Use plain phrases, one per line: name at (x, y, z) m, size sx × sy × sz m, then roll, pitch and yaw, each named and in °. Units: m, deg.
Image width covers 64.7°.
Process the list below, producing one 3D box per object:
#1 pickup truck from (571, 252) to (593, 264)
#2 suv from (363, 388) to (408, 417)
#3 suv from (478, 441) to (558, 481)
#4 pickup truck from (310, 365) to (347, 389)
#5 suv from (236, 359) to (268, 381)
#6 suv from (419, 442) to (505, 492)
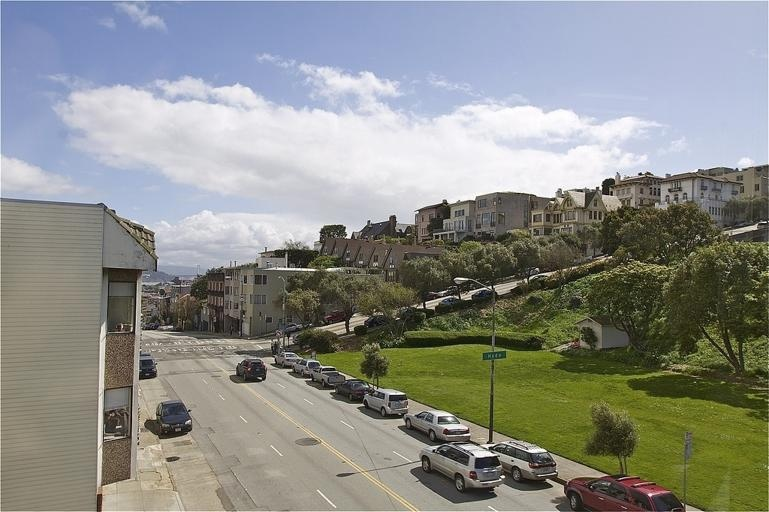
pickup truck at (35.787, 0.421, 110.614) m, size 4.393 × 1.919 × 2.036 m, roll -5°, pitch 4°, yaw -21°
suv at (0.192, 12.380, 52.058) m, size 1.658 × 2.092 × 3.663 m, roll -6°, pitch 9°, yaw -41°
suv at (9.061, 13.974, 42.717) m, size 2.805 × 2.278 × 6.442 m, roll 6°, pitch -4°, yaw -32°
pickup truck at (-5.801, 12.084, 61.222) m, size 1.752 × 1.808 × 4.043 m, roll -5°, pitch 9°, yaw -37°
suv at (-13.932, 11.734, 63.365) m, size 1.714 × 1.386 × 3.182 m, roll 3°, pitch -1°, yaw -25°
suv at (5.028, 13.740, 39.993) m, size 3.477 × 2.413 × 6.116 m, roll 1°, pitch -3°, yaw -25°
